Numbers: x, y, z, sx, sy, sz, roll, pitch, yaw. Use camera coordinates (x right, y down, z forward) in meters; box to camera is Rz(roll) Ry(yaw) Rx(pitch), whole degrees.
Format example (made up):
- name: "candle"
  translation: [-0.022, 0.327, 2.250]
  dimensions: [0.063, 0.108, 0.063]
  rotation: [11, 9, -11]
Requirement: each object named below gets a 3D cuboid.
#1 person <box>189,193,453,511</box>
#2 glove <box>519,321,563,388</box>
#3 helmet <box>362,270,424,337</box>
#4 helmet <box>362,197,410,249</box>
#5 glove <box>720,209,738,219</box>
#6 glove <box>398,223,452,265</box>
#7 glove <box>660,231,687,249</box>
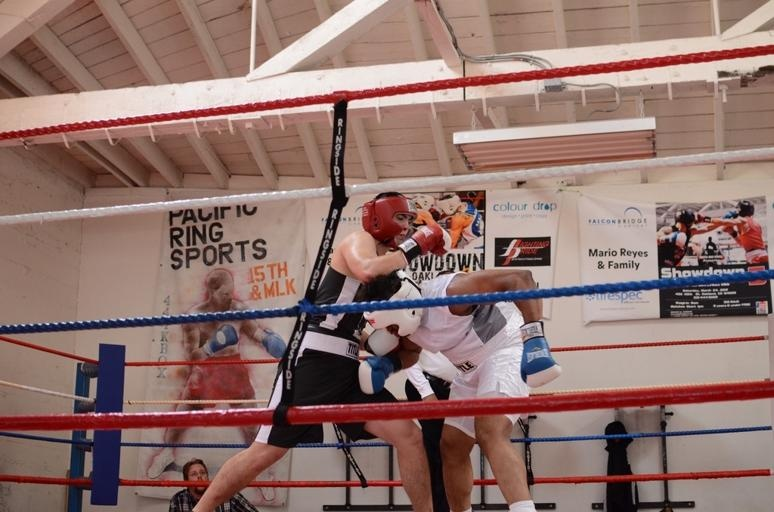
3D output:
- name: "person"
  translation: [-0.299, 0.514, 4.487]
  dimensions: [1.199, 1.805, 0.753]
  rotation: [2, -16, -7]
- name: "glove"
  translation: [0.789, 0.531, 4.184]
  dimensions: [0.232, 0.325, 0.126]
  rotation: [-19, -33, 10]
- name: "helmet"
  translation: [0.060, 0.298, 4.658]
  dimensions: [0.426, 0.335, 0.324]
  rotation: [-20, -6, -4]
- name: "helmet"
  translation: [-0.023, -0.214, 4.758]
  dimensions: [0.329, 0.270, 0.234]
  rotation: [-5, -5, 5]
- name: "glove"
  translation: [3.270, -0.395, 7.617]
  dimensions: [0.115, 0.078, 0.108]
  rotation: [-4, 21, -2]
- name: "glove"
  translation: [0.221, -0.072, 4.427]
  dimensions: [0.194, 0.283, 0.110]
  rotation: [41, -31, 14]
- name: "glove"
  translation: [2.749, -0.158, 7.642]
  dimensions: [0.211, 0.089, 0.157]
  rotation: [4, -26, 11]
